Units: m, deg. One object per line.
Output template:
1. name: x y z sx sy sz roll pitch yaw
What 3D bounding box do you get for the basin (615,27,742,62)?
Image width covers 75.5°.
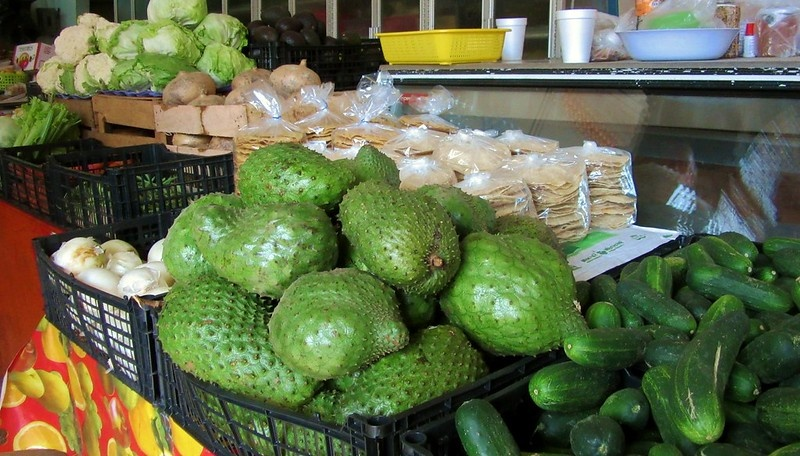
1. basin: 1.508 -0.997 2.803 0.360 0.079 0.344 -4 13 1

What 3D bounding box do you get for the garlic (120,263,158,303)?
1. garlic: -1.098 0.238 2.177 0.147 0.106 0.178 -42 3 -16

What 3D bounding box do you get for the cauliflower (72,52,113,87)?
1. cauliflower: -3.149 -1.588 5.318 0.349 0.262 0.161 -22 -5 11

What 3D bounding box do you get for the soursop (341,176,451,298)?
1. soursop: 0.023 0.025 1.685 0.380 0.292 0.239 23 11 16

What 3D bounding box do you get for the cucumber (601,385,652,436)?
1. cucumber: 0.655 0.523 1.508 0.114 0.106 0.145 2 -2 11

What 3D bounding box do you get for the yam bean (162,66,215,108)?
1. yam bean: -1.775 -1.185 4.441 0.397 0.263 0.396 -9 17 19

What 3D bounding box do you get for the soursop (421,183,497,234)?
1. soursop: 0.231 -0.063 1.868 0.242 0.129 0.176 22 3 6

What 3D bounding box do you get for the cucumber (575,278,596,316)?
1. cucumber: 0.702 0.259 1.958 0.082 0.123 0.091 -4 -18 3

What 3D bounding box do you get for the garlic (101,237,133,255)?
1. garlic: -1.357 0.089 2.479 0.112 0.065 0.085 30 18 -6

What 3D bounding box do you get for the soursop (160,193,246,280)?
1. soursop: -0.685 0.053 1.846 0.205 0.334 0.251 35 21 -45

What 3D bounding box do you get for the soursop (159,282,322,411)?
1. soursop: -0.516 0.388 1.667 0.552 0.248 0.349 26 30 21

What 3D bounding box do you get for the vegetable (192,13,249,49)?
1. vegetable: -1.824 -1.982 5.251 0.449 0.343 0.494 7 7 -1

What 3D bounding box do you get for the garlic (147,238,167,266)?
1. garlic: -1.085 0.109 2.287 0.094 0.087 0.105 -28 21 -12

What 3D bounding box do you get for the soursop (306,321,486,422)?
1. soursop: -0.018 0.438 1.615 0.463 0.199 0.261 -19 16 -2

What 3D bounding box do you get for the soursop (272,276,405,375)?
1. soursop: -0.183 0.292 1.593 0.443 0.255 0.341 0 61 14

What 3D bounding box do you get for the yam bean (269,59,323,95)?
1. yam bean: -0.891 -1.237 4.208 0.369 0.325 0.357 15 25 17

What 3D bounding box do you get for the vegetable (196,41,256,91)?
1. vegetable: -1.638 -1.553 5.027 0.490 0.220 0.487 -39 69 -21

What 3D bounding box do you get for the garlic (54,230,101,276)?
1. garlic: -1.438 0.123 2.306 0.219 0.162 0.160 -7 -2 -18

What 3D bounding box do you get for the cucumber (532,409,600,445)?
1. cucumber: 0.498 0.579 1.561 0.173 0.095 0.092 -8 10 2

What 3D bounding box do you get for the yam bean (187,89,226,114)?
1. yam bean: -1.548 -1.000 4.094 0.270 0.108 0.268 5 34 14

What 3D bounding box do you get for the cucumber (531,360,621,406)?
1. cucumber: 0.534 0.467 1.570 0.250 0.106 0.112 -7 56 -26

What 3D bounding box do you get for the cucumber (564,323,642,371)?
1. cucumber: 0.638 0.376 1.623 0.251 0.108 0.100 -2 1 -13

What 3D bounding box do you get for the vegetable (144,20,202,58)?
1. vegetable: -2.239 -1.787 4.987 0.419 0.238 0.448 -15 24 -38

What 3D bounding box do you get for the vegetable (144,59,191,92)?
1. vegetable: -2.260 -1.458 4.954 0.337 0.239 0.431 -32 34 -31

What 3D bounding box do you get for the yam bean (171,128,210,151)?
1. yam bean: -1.666 -0.692 4.058 0.265 0.138 0.195 9 30 11

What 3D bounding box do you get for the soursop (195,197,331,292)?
1. soursop: -0.447 0.047 1.667 0.396 0.254 0.237 12 43 -4

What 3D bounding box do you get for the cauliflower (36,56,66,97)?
1. cauliflower: -3.917 -1.673 5.810 0.235 0.353 0.545 -23 37 -39

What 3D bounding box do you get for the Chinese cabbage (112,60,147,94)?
1. Chinese cabbage: -2.651 -1.431 4.971 0.392 0.352 0.168 1 -20 -12

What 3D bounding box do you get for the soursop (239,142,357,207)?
1. soursop: -0.351 -0.162 1.830 0.339 0.196 0.199 4 66 5

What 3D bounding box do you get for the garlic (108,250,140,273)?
1. garlic: -1.277 0.150 2.378 0.107 0.104 0.133 -9 -4 8

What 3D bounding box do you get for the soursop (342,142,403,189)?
1. soursop: -0.094 -0.215 1.813 0.156 0.099 0.167 26 10 4
